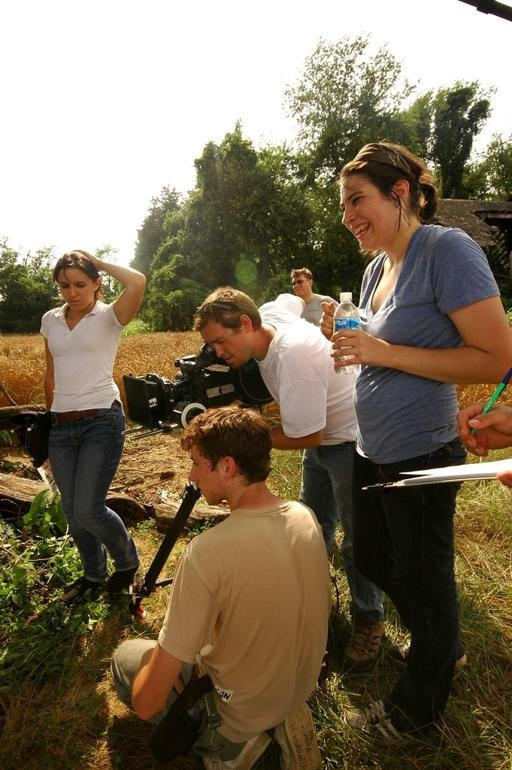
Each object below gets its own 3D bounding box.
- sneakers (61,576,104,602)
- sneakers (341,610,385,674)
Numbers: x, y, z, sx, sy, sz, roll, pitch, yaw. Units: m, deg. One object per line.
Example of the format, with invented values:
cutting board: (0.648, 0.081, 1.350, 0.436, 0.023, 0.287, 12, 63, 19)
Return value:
sneakers: (-1.054, 1.247, 3.290, 0.291, 0.108, 0.095, 3, 0, -36)
sneakers: (0.548, 1.281, 2.687, 0.126, 0.362, 0.234, 1, -14, 39)
